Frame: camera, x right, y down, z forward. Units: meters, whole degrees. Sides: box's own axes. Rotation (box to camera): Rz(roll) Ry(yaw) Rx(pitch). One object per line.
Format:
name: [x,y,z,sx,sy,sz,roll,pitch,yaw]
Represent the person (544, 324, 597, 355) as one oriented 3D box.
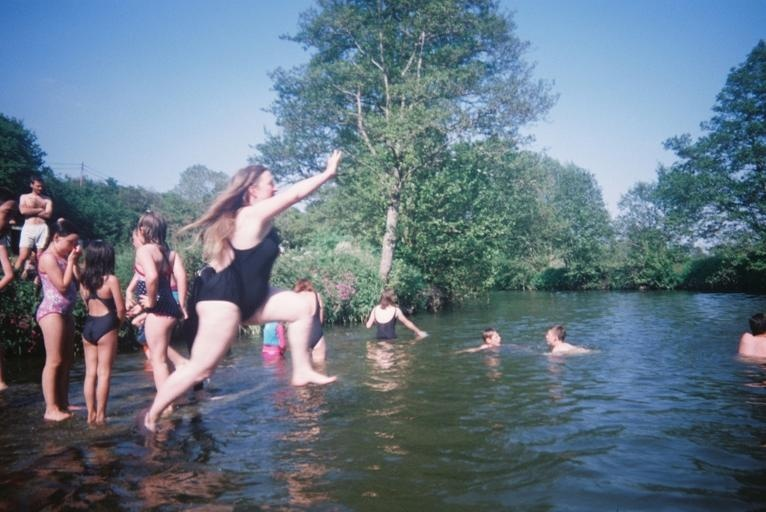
person: [4.579,2.027,12.944,1.368,0.620,0.503,2,4,23]
